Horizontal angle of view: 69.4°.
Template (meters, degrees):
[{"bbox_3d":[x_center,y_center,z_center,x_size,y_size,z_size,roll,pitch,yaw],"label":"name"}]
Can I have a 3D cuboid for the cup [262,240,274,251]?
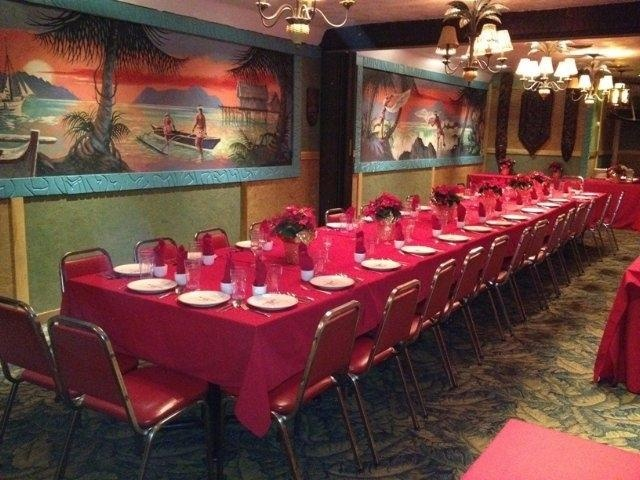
[{"bbox_3d":[-0.439,0.051,3.967,0.075,0.060,0.079,0,2,0],"label":"cup"}]

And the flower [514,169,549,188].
[{"bbox_3d":[3.599,-1.027,7.821,0.554,0.188,0.546,-10,15,-33],"label":"flower"}]

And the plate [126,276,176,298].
[{"bbox_3d":[-1.084,0.297,2.985,0.285,0.029,0.323,-9,18,-39],"label":"plate"}]

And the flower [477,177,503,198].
[{"bbox_3d":[2.263,-0.686,6.095,0.273,0.194,0.278,3,12,5],"label":"flower"}]

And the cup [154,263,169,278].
[{"bbox_3d":[-1.108,0.209,3.225,0.079,0.060,0.084,0,7,0],"label":"cup"}]

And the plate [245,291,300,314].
[{"bbox_3d":[-0.287,0.372,2.819,0.324,0.042,0.305,-8,17,-36],"label":"plate"}]

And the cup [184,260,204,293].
[{"bbox_3d":[-0.814,0.220,3.020,0.157,0.184,0.160,3,-3,0],"label":"cup"}]

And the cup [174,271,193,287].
[{"bbox_3d":[-0.900,0.249,3.044,0.124,0.106,0.096,1,4,17],"label":"cup"}]

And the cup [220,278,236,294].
[{"bbox_3d":[-0.581,0.297,2.927,0.097,0.073,0.098,0,8,0],"label":"cup"}]

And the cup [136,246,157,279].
[{"bbox_3d":[-1.197,0.146,3.144,0.130,0.205,0.129,-3,-3,0],"label":"cup"}]

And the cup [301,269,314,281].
[{"bbox_3d":[-0.094,0.239,3.299,0.104,0.086,0.129,3,14,2],"label":"cup"}]

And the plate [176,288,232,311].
[{"bbox_3d":[-0.702,0.351,2.811,0.309,0.031,0.282,2,14,-1],"label":"plate"}]

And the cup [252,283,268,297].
[{"bbox_3d":[-0.386,0.318,2.928,0.066,0.050,0.067,0,8,0],"label":"cup"}]
